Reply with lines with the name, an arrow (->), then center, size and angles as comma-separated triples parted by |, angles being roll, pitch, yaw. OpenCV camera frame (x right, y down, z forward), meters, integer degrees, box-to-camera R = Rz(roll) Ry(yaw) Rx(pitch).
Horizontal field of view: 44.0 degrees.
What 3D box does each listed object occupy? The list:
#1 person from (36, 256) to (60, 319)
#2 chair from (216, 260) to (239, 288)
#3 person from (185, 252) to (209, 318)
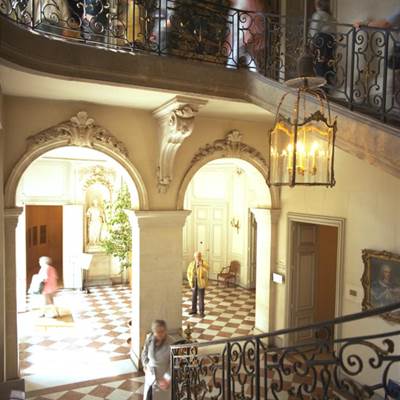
person -> -3.406, 1.945, 11.207 | 0.368, 1.250, 0.699 | -2, 4, -20
chair -> 0.693, 2.023, 13.947 | 0.572, 1.021, 0.596 | 1, 0, -28
person -> -0.036, 1.815, 10.915 | 0.389, 1.515, 0.759 | -1, 4, -17
